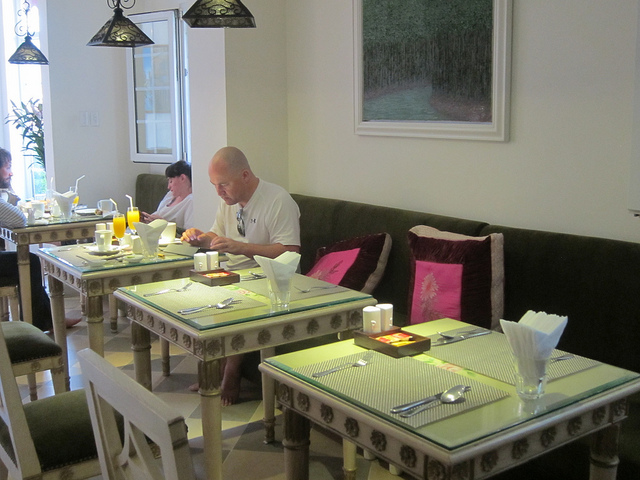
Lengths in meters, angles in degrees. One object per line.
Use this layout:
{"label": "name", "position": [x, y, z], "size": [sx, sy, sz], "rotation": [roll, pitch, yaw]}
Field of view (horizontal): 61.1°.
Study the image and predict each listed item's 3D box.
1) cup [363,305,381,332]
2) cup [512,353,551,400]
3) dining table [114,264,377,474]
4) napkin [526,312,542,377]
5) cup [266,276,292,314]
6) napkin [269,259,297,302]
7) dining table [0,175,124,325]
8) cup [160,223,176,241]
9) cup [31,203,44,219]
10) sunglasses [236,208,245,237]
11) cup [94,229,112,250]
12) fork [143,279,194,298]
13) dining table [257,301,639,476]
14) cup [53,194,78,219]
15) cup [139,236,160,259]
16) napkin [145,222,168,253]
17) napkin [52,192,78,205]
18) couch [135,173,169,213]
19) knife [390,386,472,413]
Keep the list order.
{"label": "cup", "position": [0.189, 0.293, 2.040], "size": [0.075, 0.087, 0.076], "rotation": [-1, 2, 0]}
{"label": "cup", "position": [0.613, 0.387, 1.543], "size": [0.089, 0.108, 0.092], "rotation": [-4, -4, 0]}
{"label": "dining table", "position": [-0.332, 0.314, 2.458], "size": [0.930, 0.602, 0.933], "rotation": [-8, 13, -36]}
{"label": "napkin", "position": [0.616, 0.295, 1.577], "size": [0.027, 0.139, 0.180], "rotation": [6, 15, 25]}
{"label": "cup", "position": [-0.192, 0.223, 2.316], "size": [0.132, 0.174, 0.137], "rotation": [2, 5, 0]}
{"label": "napkin", "position": [-0.172, 0.180, 2.287], "size": [0.162, 0.202, 0.146], "rotation": [-1, 2, 0]}
{"label": "dining table", "position": [-2.131, -0.122, 4.831], "size": [1.200, 1.280, 1.522], "rotation": [-7, 10, -38]}
{"label": "cup", "position": [-0.953, -0.064, 3.466], "size": [0.097, 0.112, 0.101], "rotation": [-9, 20, 3]}
{"label": "cup", "position": [-2.272, -0.242, 4.385], "size": [0.097, 0.122, 0.119], "rotation": [0, 15, -33]}
{"label": "sunglasses", "position": [-0.504, -0.118, 3.443], "size": [0.070, 0.181, 0.013], "rotation": [9, 17, 37]}
{"label": "cup", "position": [-1.257, -0.004, 3.160], "size": [0.076, 0.110, 0.117], "rotation": [0, 11, -10]}
{"label": "fork", "position": [-0.663, 0.215, 2.530], "size": [0.061, 0.052, 0.335], "rotation": [10, 11, 36]}
{"label": "dining table", "position": [0.468, 0.217, 1.617], "size": [0.780, 0.462, 0.782], "rotation": [-6, 9, -38]}
{"label": "cup", "position": [-2.068, -0.280, 4.420], "size": [0.176, 0.179, 0.186], "rotation": [1, 7, 0]}
{"label": "cup", "position": [-0.965, 0.034, 3.143], "size": [0.117, 0.119, 0.120], "rotation": [-4, 6, 0]}
{"label": "napkin", "position": [-0.924, -0.019, 3.134], "size": [0.120, 0.133, 0.117], "rotation": [1, 7, 2]}
{"label": "napkin", "position": [-2.084, -0.335, 4.442], "size": [0.108, 0.084, 0.118], "rotation": [3, 5, 40]}
{"label": "couch", "position": [-1.832, -0.520, 5.957], "size": [0.279, 0.458, 0.515], "rotation": [7, 13, -29]}
{"label": "knife", "position": [0.302, 0.448, 1.529], "size": [0.219, 0.024, 0.050], "rotation": [-12, 22, -29]}
